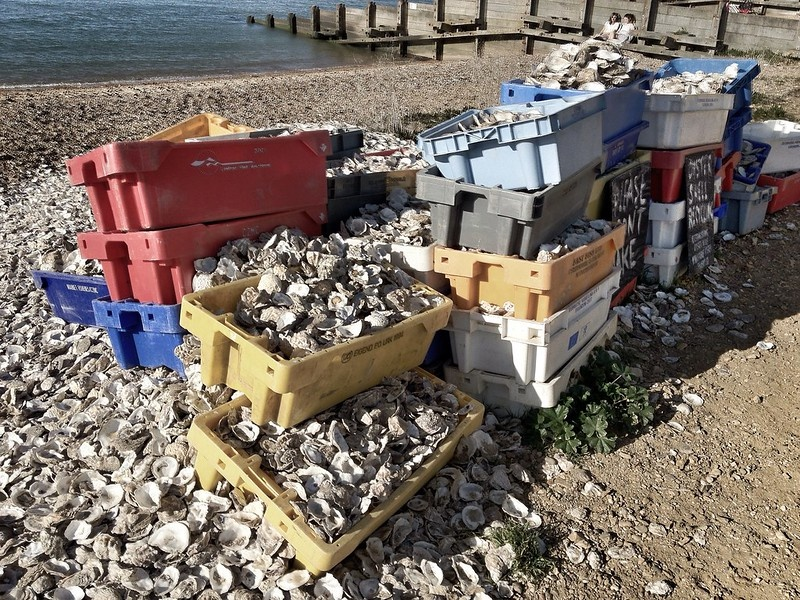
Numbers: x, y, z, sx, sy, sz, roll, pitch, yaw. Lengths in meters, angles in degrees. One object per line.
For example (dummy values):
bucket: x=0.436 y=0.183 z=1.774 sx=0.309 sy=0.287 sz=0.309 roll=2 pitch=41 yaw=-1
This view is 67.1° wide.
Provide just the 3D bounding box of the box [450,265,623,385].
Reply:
box: x=1.174 y=0.204 z=4.858 sx=0.781 sy=0.353 sz=1.194 roll=18 pitch=31 yaw=40

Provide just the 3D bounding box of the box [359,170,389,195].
box: x=-0.238 y=-1.053 z=5.466 sx=0.232 sy=0.124 sz=0.216 roll=-10 pitch=27 yaw=-21

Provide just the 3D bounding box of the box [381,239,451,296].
box: x=0.118 y=-0.275 z=4.781 sx=0.327 sy=0.257 sz=0.440 roll=-15 pitch=28 yaw=-42

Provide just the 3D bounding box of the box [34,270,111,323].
box: x=-2.821 y=-0.041 z=5.193 sx=0.520 sy=0.288 sz=0.769 roll=-5 pitch=-5 yaw=31

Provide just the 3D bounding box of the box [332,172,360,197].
box: x=-0.490 y=-1.006 z=5.292 sx=0.178 sy=0.082 sz=0.246 roll=-5 pitch=22 yaw=-15

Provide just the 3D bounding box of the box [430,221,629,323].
box: x=1.154 y=-0.279 z=5.058 sx=1.036 sy=0.406 sz=1.497 roll=4 pitch=20 yaw=36

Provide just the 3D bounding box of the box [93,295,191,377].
box: x=-1.897 y=0.265 z=4.793 sx=0.572 sy=0.462 sz=0.779 roll=5 pitch=8 yaw=20

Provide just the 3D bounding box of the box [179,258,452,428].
box: x=-0.584 y=0.287 z=4.307 sx=1.060 sy=0.501 sz=1.576 roll=29 pitch=30 yaw=35

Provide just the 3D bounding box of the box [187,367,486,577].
box: x=-0.141 y=1.019 z=3.939 sx=1.056 sy=0.395 sz=1.460 roll=30 pitch=43 yaw=33

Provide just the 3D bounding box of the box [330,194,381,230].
box: x=-0.396 y=-0.773 z=5.369 sx=0.419 sy=0.125 sz=0.293 roll=-16 pitch=27 yaw=-32

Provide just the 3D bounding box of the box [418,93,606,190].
box: x=0.953 y=-1.248 z=4.881 sx=1.322 sy=0.418 sz=0.951 roll=0 pitch=24 yaw=38

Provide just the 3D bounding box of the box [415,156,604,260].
box: x=0.909 y=-0.838 z=5.061 sx=1.035 sy=0.519 sz=1.446 roll=16 pitch=28 yaw=24

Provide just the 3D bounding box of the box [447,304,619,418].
box: x=1.080 y=0.300 z=5.218 sx=1.057 sy=0.431 sz=1.485 roll=8 pitch=37 yaw=27

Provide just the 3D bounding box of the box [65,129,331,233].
box: x=-1.445 y=-0.876 z=4.701 sx=1.561 sy=0.522 sz=0.984 roll=-19 pitch=29 yaw=-38

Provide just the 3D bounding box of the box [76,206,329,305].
box: x=-1.575 y=-0.518 z=4.651 sx=0.835 sy=0.415 sz=1.268 roll=20 pitch=30 yaw=38
